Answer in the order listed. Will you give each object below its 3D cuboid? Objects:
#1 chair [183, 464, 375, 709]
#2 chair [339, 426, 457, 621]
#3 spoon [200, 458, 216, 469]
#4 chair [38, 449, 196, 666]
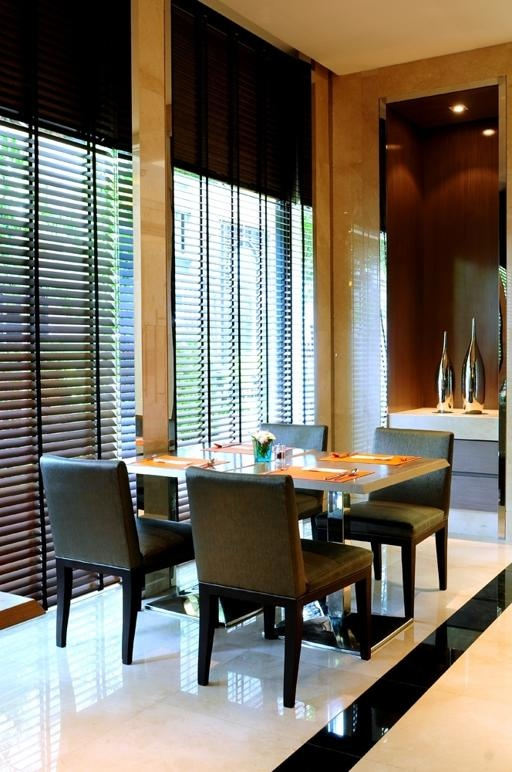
[{"bbox_3d":[0.070,0.630,2.139,0.462,0.730,0.639,-2,-3,34],"label":"chair"},{"bbox_3d":[0.683,0.667,3.105,0.441,0.906,0.531,-2,-1,24],"label":"chair"},{"bbox_3d":[-0.198,0.308,2.624,0.041,0.024,0.086,6,3,20],"label":"spoon"},{"bbox_3d":[-0.592,0.605,2.467,0.324,0.758,0.452,2,8,1],"label":"chair"}]
